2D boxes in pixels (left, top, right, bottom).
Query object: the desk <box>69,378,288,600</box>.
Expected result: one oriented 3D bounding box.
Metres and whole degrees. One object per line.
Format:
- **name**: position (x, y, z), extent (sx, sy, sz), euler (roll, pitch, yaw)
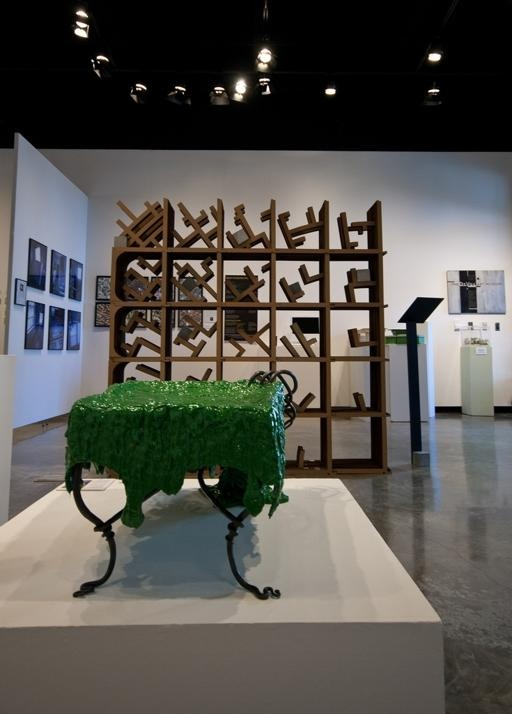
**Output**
- **desk**: position (-0.142, 0.300, 1.455), extent (0.501, 0.396, 0.688), euler (-1, 1, 7)
